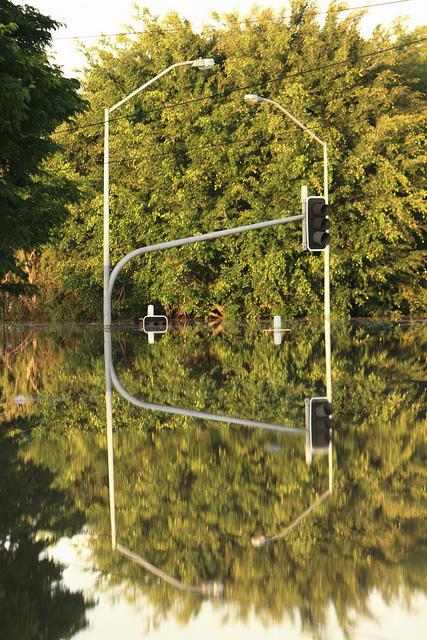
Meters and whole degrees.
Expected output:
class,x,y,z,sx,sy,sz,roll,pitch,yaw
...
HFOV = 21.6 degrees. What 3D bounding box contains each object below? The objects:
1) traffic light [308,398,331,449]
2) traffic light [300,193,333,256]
class,x,y,z,sx,sy,sz,roll,pitch,yaw
traffic light,0.949,0.944,10.057,0.176,0.428,0.441,-2,-65,8
traffic light,1.374,-1.323,15.105,0.195,0.366,0.750,-10,-72,-25
